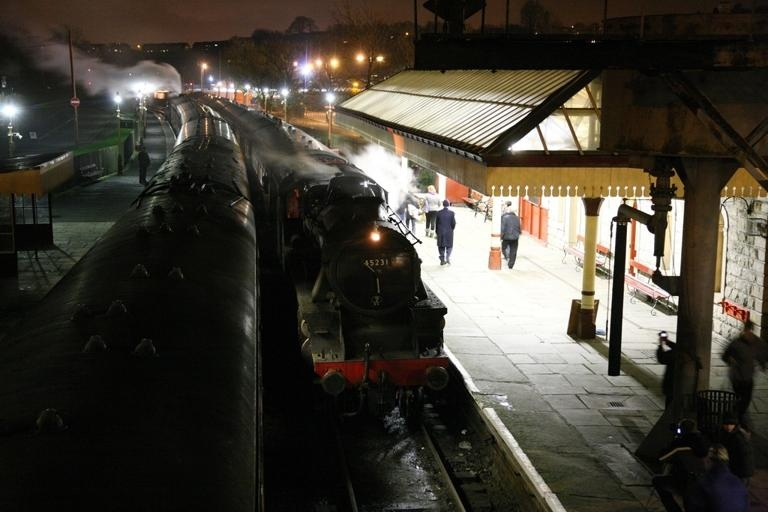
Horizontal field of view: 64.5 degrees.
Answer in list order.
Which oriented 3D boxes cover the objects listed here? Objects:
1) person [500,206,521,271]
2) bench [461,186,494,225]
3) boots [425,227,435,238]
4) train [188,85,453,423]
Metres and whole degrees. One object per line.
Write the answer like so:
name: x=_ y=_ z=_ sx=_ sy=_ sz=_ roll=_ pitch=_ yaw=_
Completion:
person: x=3.869 y=-0.669 z=18.655 sx=0.564 sy=1.989 sz=0.956 roll=4 pitch=11 yaw=13
bench: x=4.231 y=-2.387 z=27.452 sx=0.823 sy=0.960 sz=3.707 roll=1 pitch=13 yaw=-1
boots: x=1.795 y=-0.879 z=23.194 sx=0.253 sy=0.313 sz=0.303 roll=0 pitch=1 yaw=-2
train: x=-1.319 y=-0.668 z=13.810 sx=2.029 sy=3.016 sz=9.026 roll=-5 pitch=19 yaw=-14
